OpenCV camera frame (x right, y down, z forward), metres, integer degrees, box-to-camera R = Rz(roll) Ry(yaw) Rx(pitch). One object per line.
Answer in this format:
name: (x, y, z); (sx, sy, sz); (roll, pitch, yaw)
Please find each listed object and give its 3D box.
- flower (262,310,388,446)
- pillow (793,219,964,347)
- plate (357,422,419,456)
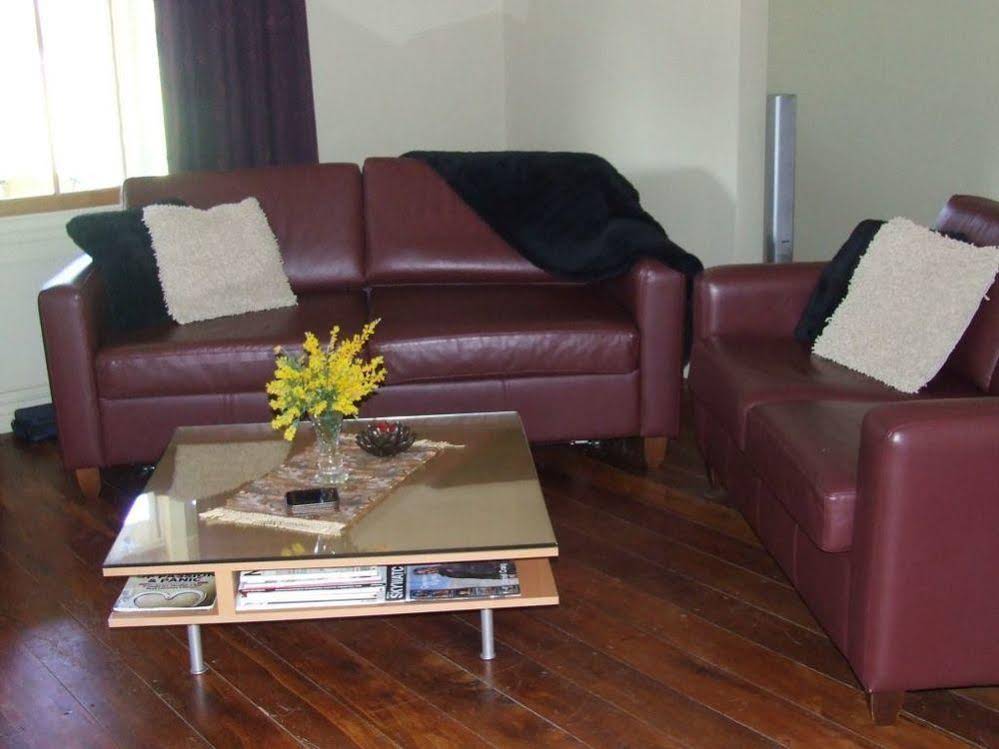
flower: (-0.564, 0.016, 2.487); (0.267, 0.189, 0.306); (8, -12, -23)
pillow: (1.374, -0.240, 3.166); (0.107, 0.456, 0.432); (25, 18, -12)
plate: (-0.336, 0.189, 2.601); (0.116, 0.065, 0.114); (-7, 12, -40)
